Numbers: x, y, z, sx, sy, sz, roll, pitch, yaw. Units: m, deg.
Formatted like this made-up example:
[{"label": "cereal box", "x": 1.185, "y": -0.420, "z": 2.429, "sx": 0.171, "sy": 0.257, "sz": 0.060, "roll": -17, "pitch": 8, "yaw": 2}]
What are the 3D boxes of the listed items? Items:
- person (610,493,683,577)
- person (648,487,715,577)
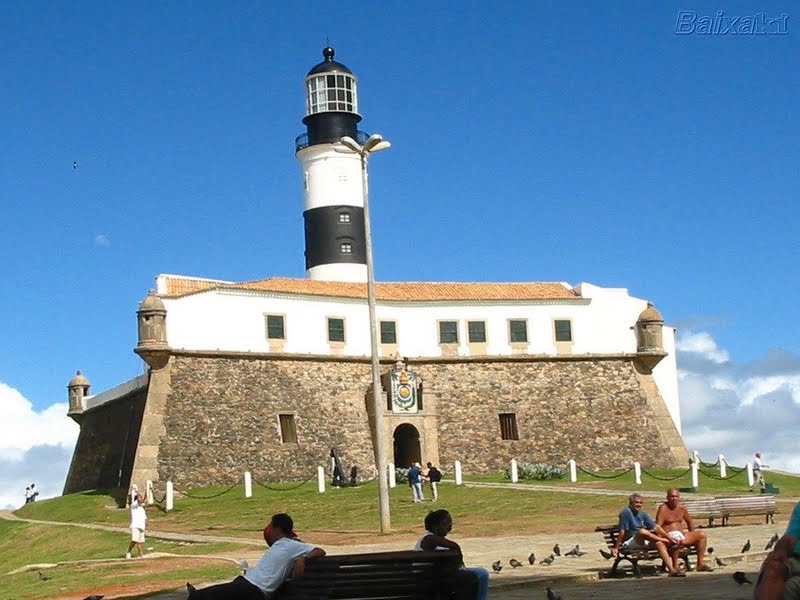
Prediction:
[{"label": "person", "x": 4.395, "y": 4.159, "z": 15.092, "sx": 0.964, "sy": 1.582, "sz": 1.045, "roll": -4, "pitch": -8, "yaw": 0}, {"label": "person", "x": 5.107, "y": 4.140, "z": 15.043, "sx": 0.888, "sy": 1.373, "sz": 1.016, "roll": -1, "pitch": -4, "yaw": 18}]
